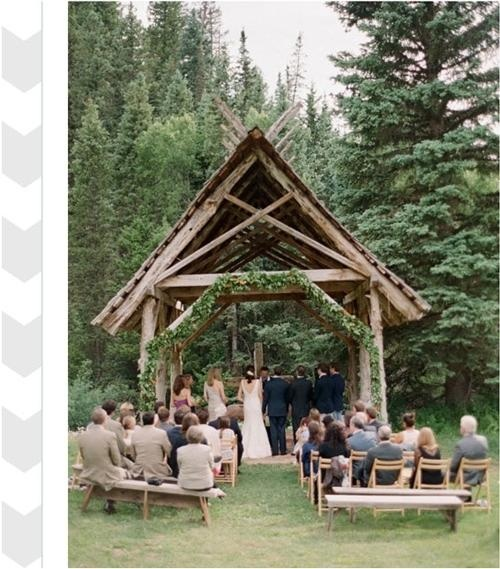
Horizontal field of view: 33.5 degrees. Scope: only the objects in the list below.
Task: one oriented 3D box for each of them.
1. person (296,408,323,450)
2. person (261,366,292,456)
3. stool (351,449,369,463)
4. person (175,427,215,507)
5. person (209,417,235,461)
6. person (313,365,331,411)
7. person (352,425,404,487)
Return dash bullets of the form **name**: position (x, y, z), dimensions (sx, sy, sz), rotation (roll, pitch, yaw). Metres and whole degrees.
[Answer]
- **person**: position (1.011, 2.358, 13.973), dimensions (0.270, 0.684, 0.235), rotation (-17, 12, -19)
- **person**: position (0.548, 2.591, 17.164), dimensions (0.553, 1.839, 0.524), rotation (-1, 3, 0)
- **stool**: position (1.643, 2.575, 12.587), dimensions (0.240, 0.271, 0.202), rotation (2, 1, 7)
- **person**: position (-0.792, 2.525, 11.998), dimensions (0.507, 0.951, 0.302), rotation (-1, 3, -6)
- **person**: position (-0.409, 2.618, 14.143), dimensions (0.562, 0.843, 0.682), rotation (0, 3, 0)
- **person**: position (1.437, 2.064, 16.597), dimensions (0.373, 0.989, 0.395), rotation (-1, 3, 6)
- **person**: position (1.933, 2.572, 12.435), dimensions (0.496, 1.005, 0.671), rotation (-3, 3, -28)
